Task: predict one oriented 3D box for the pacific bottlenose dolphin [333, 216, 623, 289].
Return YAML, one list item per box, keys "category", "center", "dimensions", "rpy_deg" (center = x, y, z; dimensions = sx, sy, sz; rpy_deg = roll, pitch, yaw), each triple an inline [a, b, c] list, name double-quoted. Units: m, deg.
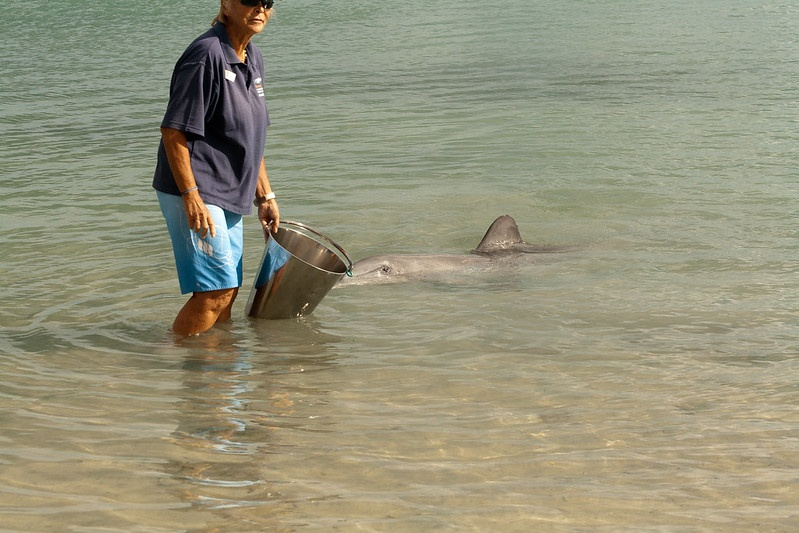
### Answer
- category: "pacific bottlenose dolphin"
  center: [0.741, -0.169, 14.017]
  dimensions: [2.924, 0.513, 0.877]
  rpy_deg: [-16, 33, -30]
